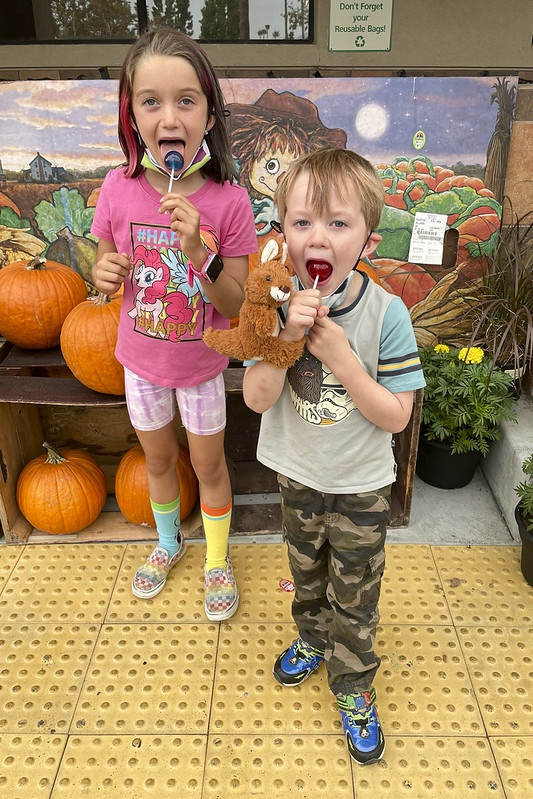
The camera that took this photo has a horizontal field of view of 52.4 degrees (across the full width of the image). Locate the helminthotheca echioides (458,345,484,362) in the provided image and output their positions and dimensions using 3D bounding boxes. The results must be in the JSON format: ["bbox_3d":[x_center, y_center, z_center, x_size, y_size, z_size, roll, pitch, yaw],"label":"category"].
[{"bbox_3d":[0.971,-0.205,2.556,0.086,0.056,0.084,-1,17,3],"label":"helminthotheca echioides"}]

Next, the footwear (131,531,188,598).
[{"bbox_3d":[-0.453,0.695,2.269,0.128,0.115,0.351,13,23,14],"label":"footwear"}]

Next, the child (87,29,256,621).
[{"bbox_3d":[-0.296,-0.092,1.797,0.538,1.923,0.509,-2,29,-1],"label":"child"}]

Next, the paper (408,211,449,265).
[{"bbox_3d":[0.779,-0.755,2.537,0.168,0.222,0.051,4,16,-2],"label":"paper"}]

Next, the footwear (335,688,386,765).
[{"bbox_3d":[0.254,0.931,1.550,0.092,0.106,0.249,-6,5,0],"label":"footwear"}]

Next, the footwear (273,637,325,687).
[{"bbox_3d":[0.119,0.856,1.836,0.089,0.103,0.246,41,22,20],"label":"footwear"}]

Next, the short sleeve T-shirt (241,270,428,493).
[{"bbox_3d":[0.158,-0.023,1.298,0.406,0.547,0.221,-2,29,-2],"label":"short sleeve T-shirt"}]

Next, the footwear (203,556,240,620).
[{"bbox_3d":[-0.183,0.753,2.089,0.085,0.083,0.229,-4,17,-4],"label":"footwear"}]

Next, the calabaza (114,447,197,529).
[{"bbox_3d":[-0.484,0.374,2.635,0.388,0.410,0.378,-5,6,-1],"label":"calabaza"}]

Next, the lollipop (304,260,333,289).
[{"bbox_3d":[0.098,-0.248,1.075,0.050,0.046,0.012,6,26,17],"label":"lollipop"}]

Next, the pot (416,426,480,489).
[{"bbox_3d":[0.881,0.311,2.799,0.317,0.223,0.312,-1,28,0],"label":"pot"}]
